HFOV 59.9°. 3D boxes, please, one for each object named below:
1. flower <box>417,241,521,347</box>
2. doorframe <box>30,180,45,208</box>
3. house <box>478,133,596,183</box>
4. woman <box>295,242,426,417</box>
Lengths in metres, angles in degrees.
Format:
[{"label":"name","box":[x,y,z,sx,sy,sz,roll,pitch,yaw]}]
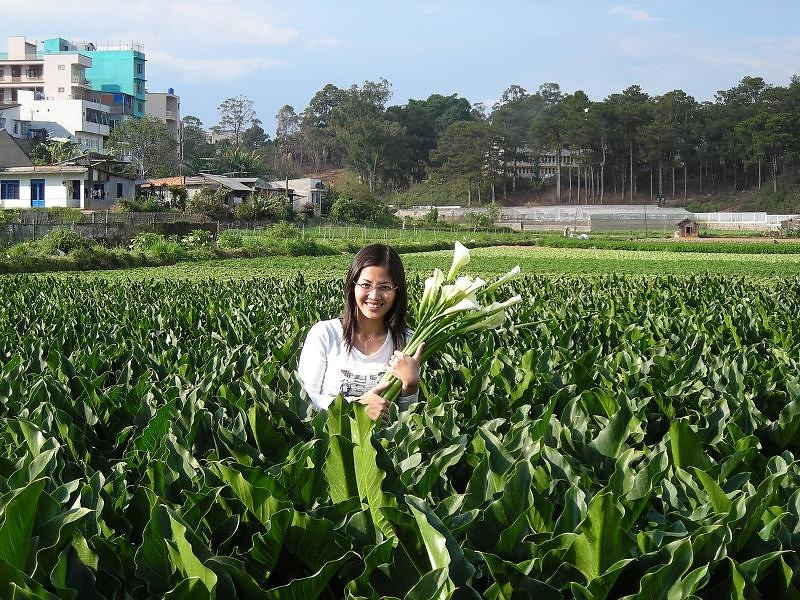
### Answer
[{"label":"flower","box":[0.281,-0.040,3.192,0.335,0.273,0.540,24,-37,-36]},{"label":"doorframe","box":[-19.802,-6.006,37.874,0.808,1.407,0.301,0,5,1]},{"label":"house","box":[18.621,-20.375,100.355,14.937,6.417,12.972,0,6,-4]},{"label":"woman","box":[-0.141,0.107,3.310,0.563,0.759,0.761,-2,6,-26]}]
